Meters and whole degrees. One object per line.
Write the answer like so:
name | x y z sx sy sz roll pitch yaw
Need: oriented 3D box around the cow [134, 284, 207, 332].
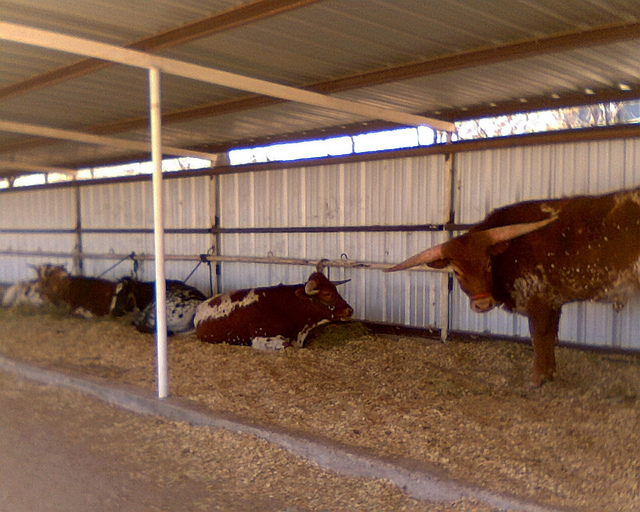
cow | -2.512 0.886 9.599 1.166 0.587 0.555 17 3 22

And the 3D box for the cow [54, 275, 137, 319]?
cow | -4.354 0.748 10.684 1.376 0.427 0.823 4 7 15

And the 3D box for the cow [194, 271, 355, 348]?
cow | -0.782 0.838 8.472 2.450 0.937 0.775 -2 5 22

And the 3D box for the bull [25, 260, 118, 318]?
bull | -4.614 0.709 10.958 2.222 1.000 0.928 12 2 32
